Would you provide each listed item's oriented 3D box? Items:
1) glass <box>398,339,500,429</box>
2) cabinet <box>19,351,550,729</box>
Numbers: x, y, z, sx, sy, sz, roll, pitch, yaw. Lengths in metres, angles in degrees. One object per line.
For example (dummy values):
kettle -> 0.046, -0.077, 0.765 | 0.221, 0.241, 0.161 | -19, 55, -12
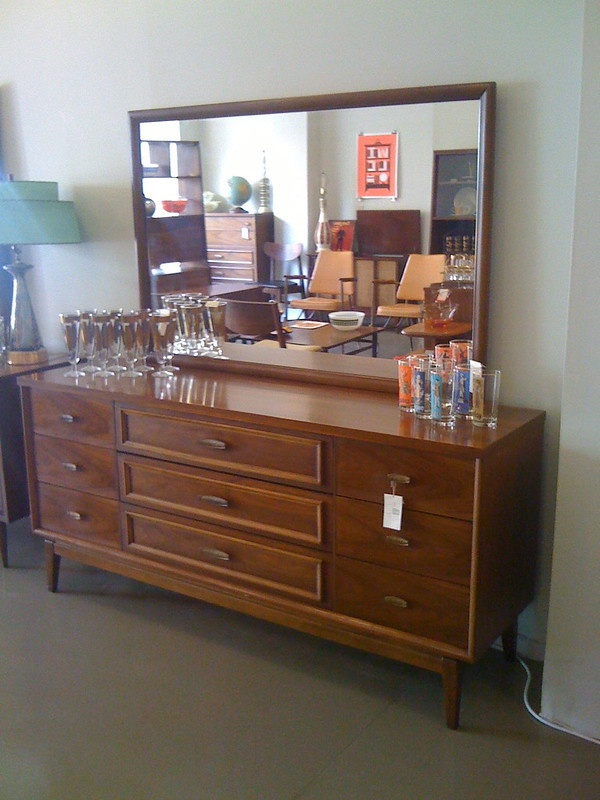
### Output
glass -> 0.376, -0.044, 1.660 | 0.197, 0.115, 0.257 | -8, 21, -8
cabinet -> -0.120, 0.323, 2.097 | 1.594, 0.656, 0.478 | 7, 12, 32
